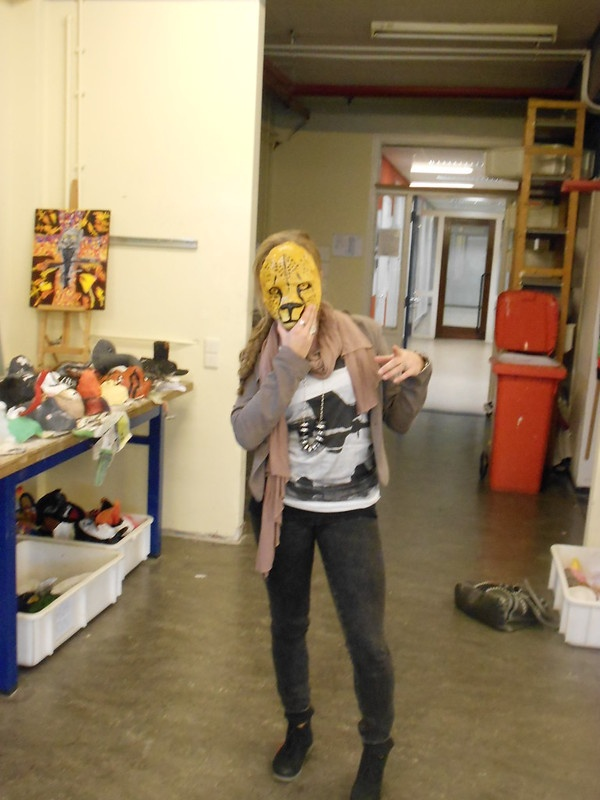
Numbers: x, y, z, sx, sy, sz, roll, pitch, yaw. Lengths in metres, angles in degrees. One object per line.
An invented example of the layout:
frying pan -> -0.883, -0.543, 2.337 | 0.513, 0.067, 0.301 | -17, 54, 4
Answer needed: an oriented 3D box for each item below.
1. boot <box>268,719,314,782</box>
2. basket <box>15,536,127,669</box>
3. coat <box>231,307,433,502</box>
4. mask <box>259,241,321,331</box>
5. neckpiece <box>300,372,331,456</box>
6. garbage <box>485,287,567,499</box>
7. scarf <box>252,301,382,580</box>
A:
boot -> -0.015, 0.815, 1.499 | 0.060, 0.126, 0.180 | 8, 3, 16
basket -> -0.819, 0.679, 2.150 | 0.277, 0.128, 0.375 | 0, 6, 11
coat -> 0.051, 0.017, 1.195 | 0.286, 0.337, 0.249 | -4, 10, 4
mask -> -0.020, -0.204, 1.207 | 0.105, 0.170, 0.079 | -4, 36, 8
neckpiece -> 0.024, 0.054, 1.148 | 0.044, 0.118, 0.020 | -11, 42, -18
garbage -> 1.481, -0.060, 4.150 | 0.430, 1.327, 0.533 | 4, 7, 16
scarf -> 0.029, 0.079, 1.114 | 0.281, 0.469, 0.112 | -3, 0, -5
